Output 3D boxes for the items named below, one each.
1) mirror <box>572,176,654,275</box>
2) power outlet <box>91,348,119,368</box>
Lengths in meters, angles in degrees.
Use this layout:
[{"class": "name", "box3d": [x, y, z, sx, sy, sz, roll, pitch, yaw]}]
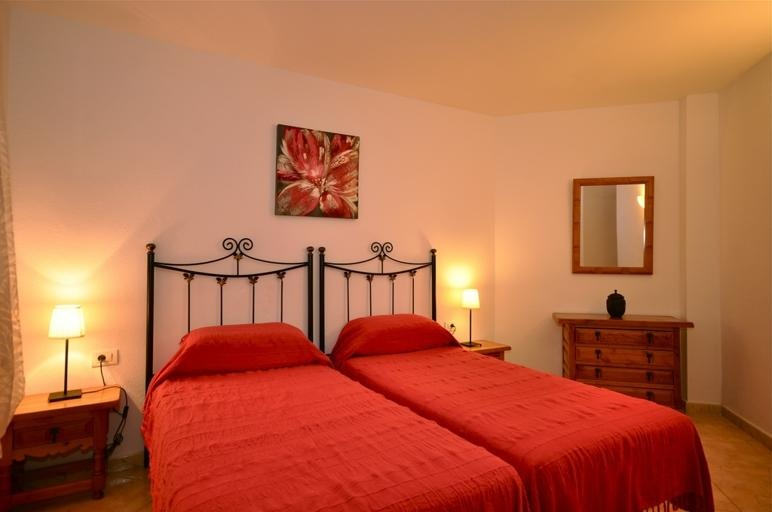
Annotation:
[{"class": "mirror", "box3d": [2.291, -0.300, 5.508, 1.032, 1.285, 0.093, -1, 0, 11]}, {"class": "power outlet", "box3d": [-2.160, 0.792, 4.256, 0.239, 0.167, 0.118, 1, -2, -12]}]
